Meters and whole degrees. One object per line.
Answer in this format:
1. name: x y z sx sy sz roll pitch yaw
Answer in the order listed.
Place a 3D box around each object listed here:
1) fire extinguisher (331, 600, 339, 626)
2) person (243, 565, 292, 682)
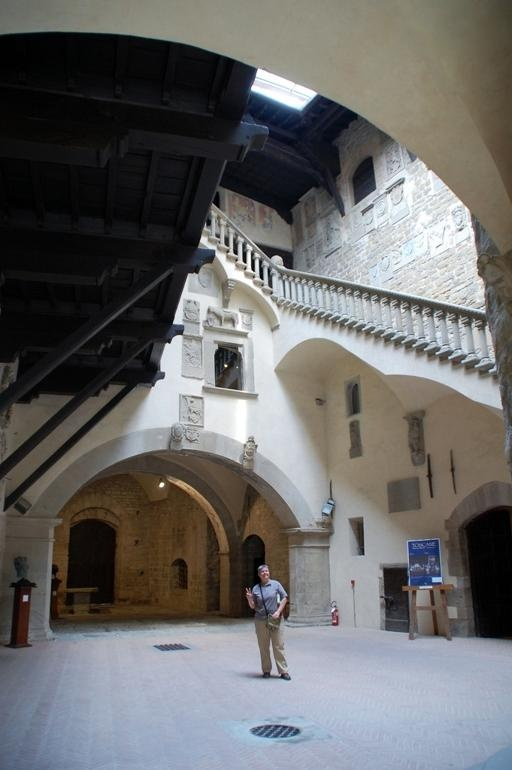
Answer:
1. fire extinguisher: 1.761 5.083 11.449 0.180 0.447 0.394 -3 -15 7
2. person: 0.131 2.506 5.455 0.425 1.106 0.423 -1 -15 -2
